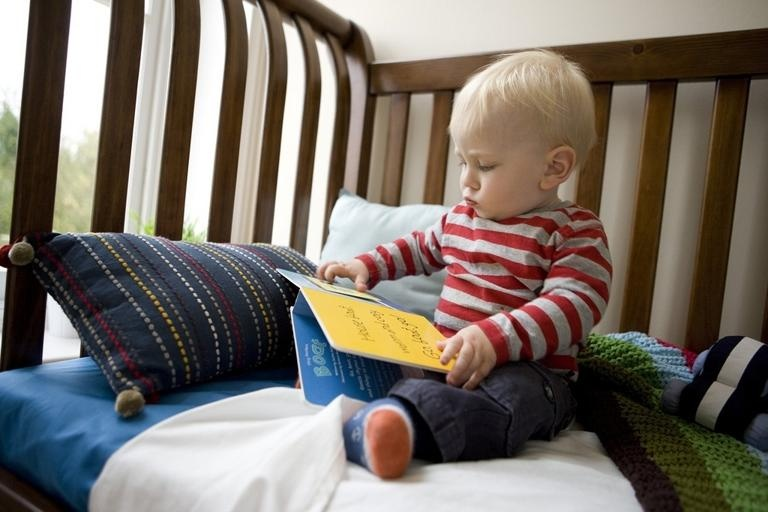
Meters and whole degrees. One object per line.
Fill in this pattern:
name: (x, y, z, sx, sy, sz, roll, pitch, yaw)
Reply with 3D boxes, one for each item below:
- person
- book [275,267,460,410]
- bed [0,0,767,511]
person: (0.097, -0.018, 1.312, 0.685, 0.815, 0.763, 2, 5, 13)
book: (-0.059, 0.139, 1.268, 0.360, 0.074, 0.352, 12, 25, -51)
bed: (0.067, -0.336, 1.698, 1.439, 0.902, 1.458, 18, 8, 19)
